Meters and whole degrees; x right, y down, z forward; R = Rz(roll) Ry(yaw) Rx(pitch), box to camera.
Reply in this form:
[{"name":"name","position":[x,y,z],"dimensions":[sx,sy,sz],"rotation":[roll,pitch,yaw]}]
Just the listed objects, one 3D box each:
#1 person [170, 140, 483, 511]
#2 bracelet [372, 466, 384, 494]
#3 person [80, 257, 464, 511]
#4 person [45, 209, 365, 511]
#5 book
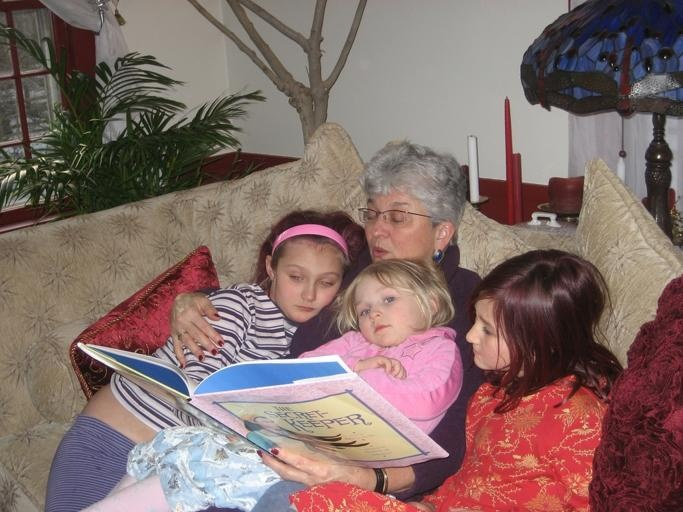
[{"name":"person","position":[0.058,0.189,1.943],"dimensions":[0.943,1.068,0.778],"rotation":[11,21,44]},{"name":"bracelet","position":[0.093,0.545,1.424],"dimensions":[0.018,0.050,0.041],"rotation":[0,-30,-20]},{"name":"person","position":[-0.090,0.078,1.517],"dimensions":[0.955,0.642,0.557],"rotation":[-9,9,-38]},{"name":"person","position":[-0.399,0.302,1.641],"dimensions":[0.824,0.253,0.294],"rotation":[-40,29,-9]},{"name":"book","position":[-0.161,0.346,1.319],"dimensions":[0.768,0.320,0.302],"rotation":[1,3,16]}]
